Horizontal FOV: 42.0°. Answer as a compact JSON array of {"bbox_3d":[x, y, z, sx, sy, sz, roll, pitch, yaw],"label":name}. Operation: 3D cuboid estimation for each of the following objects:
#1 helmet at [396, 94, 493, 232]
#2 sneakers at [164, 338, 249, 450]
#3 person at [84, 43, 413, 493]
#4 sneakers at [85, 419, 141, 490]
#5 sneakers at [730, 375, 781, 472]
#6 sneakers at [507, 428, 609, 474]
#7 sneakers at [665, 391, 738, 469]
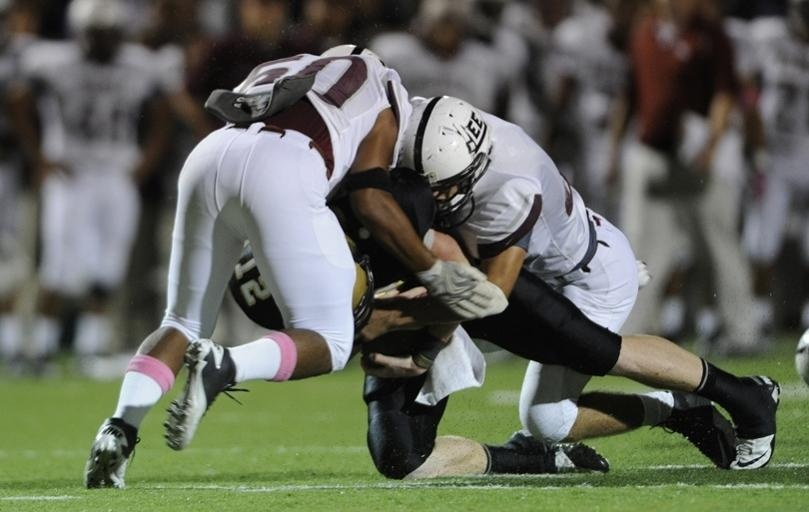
[{"bbox_3d":[0.190,-0.572,5.372,0.456,0.470,0.634,9,1,15],"label":"helmet"},{"bbox_3d":[-0.905,0.569,4.647,0.299,0.561,0.205,18,4,-31],"label":"sneakers"},{"bbox_3d":[-0.519,-0.075,4.865,1.227,1.730,0.615,-3,4,-15],"label":"person"},{"bbox_3d":[-1.311,0.888,4.686,0.134,0.233,0.452,29,8,-11],"label":"sneakers"},{"bbox_3d":[1.743,0.880,5.332,0.184,0.553,0.243,4,-17,37],"label":"sneakers"},{"bbox_3d":[0.784,0.987,5.324,0.353,0.119,0.218,18,3,13],"label":"sneakers"},{"bbox_3d":[1.490,0.851,5.367,0.204,0.167,0.447,-12,43,-30],"label":"sneakers"}]
